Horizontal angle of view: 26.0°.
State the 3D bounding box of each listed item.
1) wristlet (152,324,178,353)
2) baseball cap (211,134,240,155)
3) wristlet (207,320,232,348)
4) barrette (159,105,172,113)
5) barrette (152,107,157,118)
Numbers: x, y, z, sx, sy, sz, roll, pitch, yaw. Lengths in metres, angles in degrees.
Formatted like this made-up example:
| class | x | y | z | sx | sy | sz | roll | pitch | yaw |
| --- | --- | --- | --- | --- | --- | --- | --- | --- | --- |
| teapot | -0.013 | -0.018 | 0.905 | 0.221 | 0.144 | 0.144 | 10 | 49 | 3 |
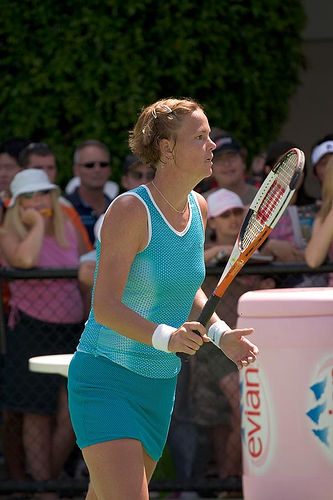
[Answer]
| class | x | y | z | sx | sy | sz | roll | pitch | yaw |
| --- | --- | --- | --- | --- | --- | --- | --- | --- | --- |
| wristlet | -0.015 | 0.246 | 2.020 | 0.055 | 0.071 | 0.071 | 37 | 5 | -1 |
| baseball cap | 0.368 | -0.697 | 4.587 | 0.212 | 0.100 | 0.288 | -11 | 10 | 2 |
| wristlet | 0.168 | 0.278 | 2.381 | 0.070 | 0.062 | 0.078 | 35 | 47 | -28 |
| barrette | -0.005 | -0.447 | 2.273 | 0.013 | 0.012 | 0.047 | -11 | 39 | -36 |
| barrette | -0.043 | -0.438 | 2.294 | 0.010 | 0.038 | 0.029 | -12 | 15 | -36 |
